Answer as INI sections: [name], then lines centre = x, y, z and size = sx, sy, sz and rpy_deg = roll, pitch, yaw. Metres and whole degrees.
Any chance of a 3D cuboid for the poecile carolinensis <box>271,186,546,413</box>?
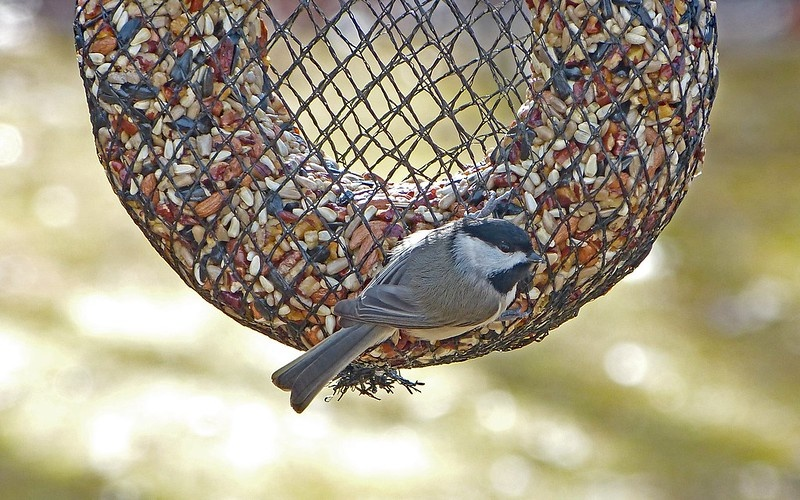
[poecile carolinensis]
centre = -0.054, 0.156, 3.466
size = 1.013, 0.421, 0.398
rpy_deg = -25, -106, 16
